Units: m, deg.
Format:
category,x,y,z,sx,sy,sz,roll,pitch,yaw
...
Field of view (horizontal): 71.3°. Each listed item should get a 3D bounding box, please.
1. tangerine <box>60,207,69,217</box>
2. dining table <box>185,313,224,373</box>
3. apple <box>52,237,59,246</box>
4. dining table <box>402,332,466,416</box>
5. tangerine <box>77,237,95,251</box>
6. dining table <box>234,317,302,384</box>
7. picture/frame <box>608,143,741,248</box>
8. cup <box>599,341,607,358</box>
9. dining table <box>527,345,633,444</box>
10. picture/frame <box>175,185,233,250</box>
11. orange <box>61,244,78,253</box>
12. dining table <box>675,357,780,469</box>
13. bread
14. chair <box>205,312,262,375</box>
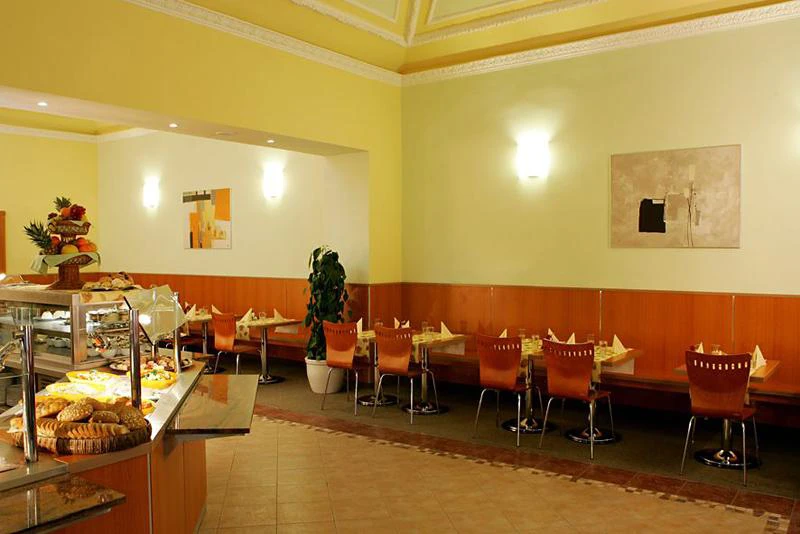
category,x,y,z,sx,sy,sz,roll,pitch,yaw
tangerine,-3.144,-0.519,5.288,0.077,0.077,0.077,-3,15,-13
dining table,-3.503,1.362,10.234,0.673,0.566,0.653,-19,0,-34
apple,-3.280,-0.245,5.386,0.067,0.064,0.069,13,26,32
dining table,0.344,1.501,7.747,1.238,1.058,1.303,7,-8,8
tangerine,-3.033,-0.215,5.453,0.157,0.135,0.147,-2,5,-14
dining table,-2.216,1.353,9.135,1.099,0.921,1.135,5,-14,-36
picture/frame,3.495,-0.876,7.140,1.487,1.262,0.109,2,6,28
cup,2.476,1.009,6.796,0.074,0.118,0.071,-1,2,0
dining table,2.072,1.419,6.406,0.623,1.191,0.824,-1,1,42
picture/frame,-3.691,-0.903,10.762,1.137,1.152,0.016,-1,-2,20
orange,-3.134,-0.162,5.325,0.092,0.091,0.091,6,8,27
dining table,3.346,1.467,5.762,0.635,1.155,0.800,-1,-4,41
bread,-1.927,0.912,3.463,0.743,0.162,0.410,0,5,0
chair,-2.760,1.240,9.395,0.683,1.175,1.694,-2,6,-18
